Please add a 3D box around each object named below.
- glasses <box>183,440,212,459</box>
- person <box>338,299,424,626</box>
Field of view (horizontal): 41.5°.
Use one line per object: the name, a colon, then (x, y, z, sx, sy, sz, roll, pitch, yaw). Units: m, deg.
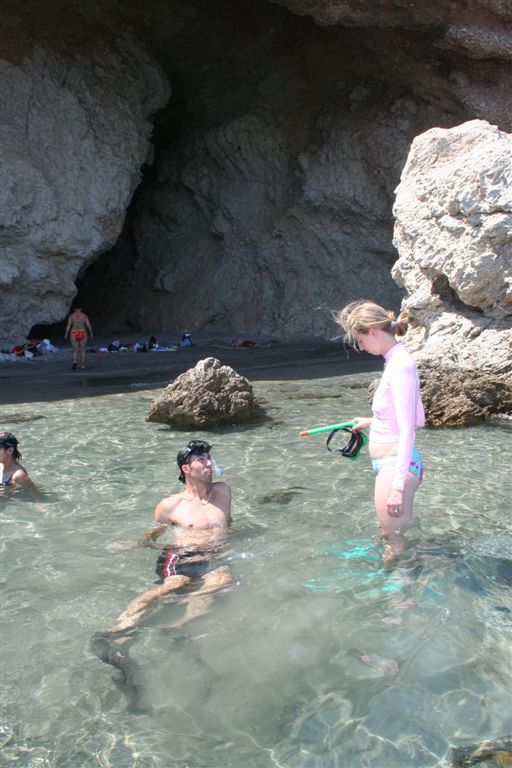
glasses: (-0.370, 0.390, 3.997, 0.100, 0.044, 0.130, -16, 11, -32)
person: (0.639, 0.269, 3.560, 0.482, 1.424, 1.029, 1, 10, 13)
